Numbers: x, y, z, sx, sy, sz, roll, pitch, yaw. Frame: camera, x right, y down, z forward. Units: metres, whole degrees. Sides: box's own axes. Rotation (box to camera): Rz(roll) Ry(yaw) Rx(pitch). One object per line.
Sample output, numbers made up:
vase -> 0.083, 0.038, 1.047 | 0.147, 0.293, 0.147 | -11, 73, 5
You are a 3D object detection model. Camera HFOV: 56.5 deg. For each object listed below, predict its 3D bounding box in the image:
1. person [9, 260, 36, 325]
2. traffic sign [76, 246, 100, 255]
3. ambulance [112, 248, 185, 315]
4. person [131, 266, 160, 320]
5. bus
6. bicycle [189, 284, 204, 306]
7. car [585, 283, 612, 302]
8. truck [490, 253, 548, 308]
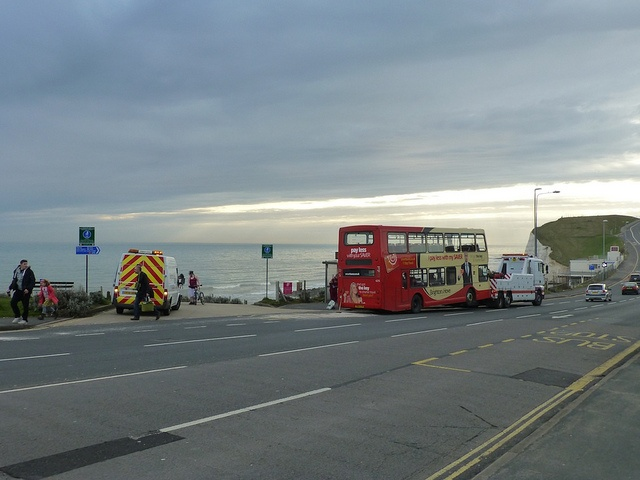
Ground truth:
person -> -10.020, 1.695, 20.049 | 0.852, 2.325, 0.687 | 4, 2, 22
traffic sign -> -10.336, 0.468, 26.463 | 0.864, 0.370, 1.649 | 1, -1, -24
ambulance -> -7.631, 1.928, 26.779 | 2.485, 2.680, 4.879 | 3, -3, -7
person -> -6.815, 2.133, 23.369 | 1.209, 2.139, 0.939 | 1, 2, 6
bus -> 5.257, 1.497, 31.577 | 3.536, 4.289, 10.048 | -5, -3, 43
bicycle -> -7.297, 3.336, 35.357 | 0.800, 0.974, 1.597 | -2, 0, -44
car -> 21.098, 4.009, 45.273 | 1.274, 1.010, 2.246 | -2, 5, 31
truck -> 11.453, 2.446, 37.007 | 2.542, 3.365, 6.988 | -2, -3, 45
